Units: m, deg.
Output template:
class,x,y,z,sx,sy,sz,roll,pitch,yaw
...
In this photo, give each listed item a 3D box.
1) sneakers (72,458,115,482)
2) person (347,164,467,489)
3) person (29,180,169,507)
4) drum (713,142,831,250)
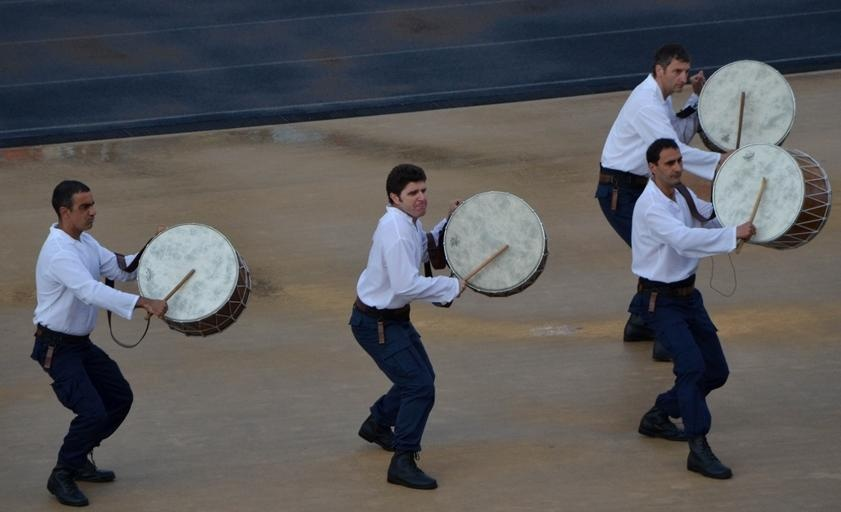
class,x,y,z,sx,sy,sz,roll,pitch,yaw
sneakers,-3.110,2.012,18.394,0.535,0.234,0.166,-1,10,-5
person,-0.107,0.655,18.147,1.012,2.950,0.867,-8,15,-14
person,-3.226,0.798,18.149,1.070,2.943,0.709,-15,18,-36
drum,3.299,-0.568,18.232,1.077,0.896,0.462,-1,14,7
